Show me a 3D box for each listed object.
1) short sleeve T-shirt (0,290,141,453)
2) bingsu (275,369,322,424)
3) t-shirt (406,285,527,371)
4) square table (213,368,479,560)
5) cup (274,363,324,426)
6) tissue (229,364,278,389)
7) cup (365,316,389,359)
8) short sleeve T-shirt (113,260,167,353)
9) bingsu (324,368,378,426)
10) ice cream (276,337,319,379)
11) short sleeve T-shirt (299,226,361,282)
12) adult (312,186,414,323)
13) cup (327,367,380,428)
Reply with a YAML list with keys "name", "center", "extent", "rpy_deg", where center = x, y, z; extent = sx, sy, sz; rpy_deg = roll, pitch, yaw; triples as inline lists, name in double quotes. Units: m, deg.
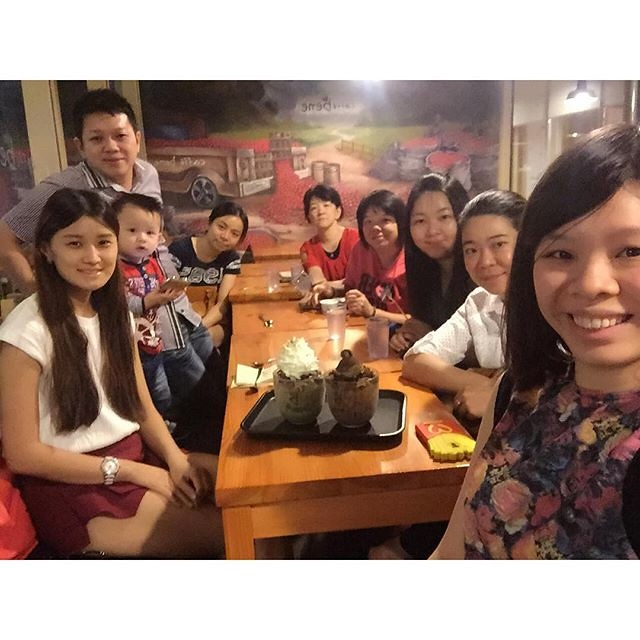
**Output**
- name: "short sleeve T-shirt"
  center: [-0.775, 0.165, 1.637]
  extent: [0.278, 0.419, 0.478]
  rpy_deg: [13, 17, 18]
- name: "bingsu"
  center: [-0.054, 0.197, 1.424]
  extent: [0.157, 0.143, 0.141]
  rpy_deg: [-1, 1, -4]
- name: "t-shirt"
  center: [0.538, 0.070, 1.985]
  extent: [0.376, 0.127, 0.302]
  rpy_deg: [-41, 47, -20]
- name: "square table"
  center: [0.017, 0.308, 1.434]
  extent: [0.507, 0.277, 0.456]
  rpy_deg: [-2, 28, -6]
- name: "cup"
  center: [-0.048, 0.214, 1.475]
  extent: [0.144, 0.133, 0.141]
  rpy_deg: [-3, 12, 1]
- name: "tissue"
  center: [-0.227, 0.190, 1.825]
  extent: [0.117, 0.036, 0.102]
  rpy_deg: [-1, 20, -3]
- name: "cup"
  center: [0.227, 0.061, 2.073]
  extent: [0.086, 0.158, 0.172]
  rpy_deg: [-3, 18, 6]
- name: "short sleeve T-shirt"
  center: [-0.829, -0.073, 2.520]
  extent: [0.143, 0.411, 0.349]
  rpy_deg: [5, 12, 34]
- name: "bingsu"
  center: [0.088, 0.212, 1.457]
  extent: [0.162, 0.126, 0.160]
  rpy_deg: [0, 3, -9]
- name: "ice cream"
  center: [-0.047, 0.100, 1.453]
  extent: [0.106, 0.081, 0.100]
  rpy_deg: [-17, 18, -7]
- name: "short sleeve T-shirt"
  center: [0.081, -0.434, 3.463]
  extent: [0.420, 0.336, 0.205]
  rpy_deg: [-2, 11, 12]
- name: "adult"
  center: [0.283, -0.336, 2.992]
  extent: [0.704, 0.734, 0.723]
  rpy_deg: [-7, 19, -12]
- name: "cup"
  center: [0.089, 0.212, 1.460]
  extent: [0.162, 0.125, 0.159]
  rpy_deg: [-1, 7, 0]
